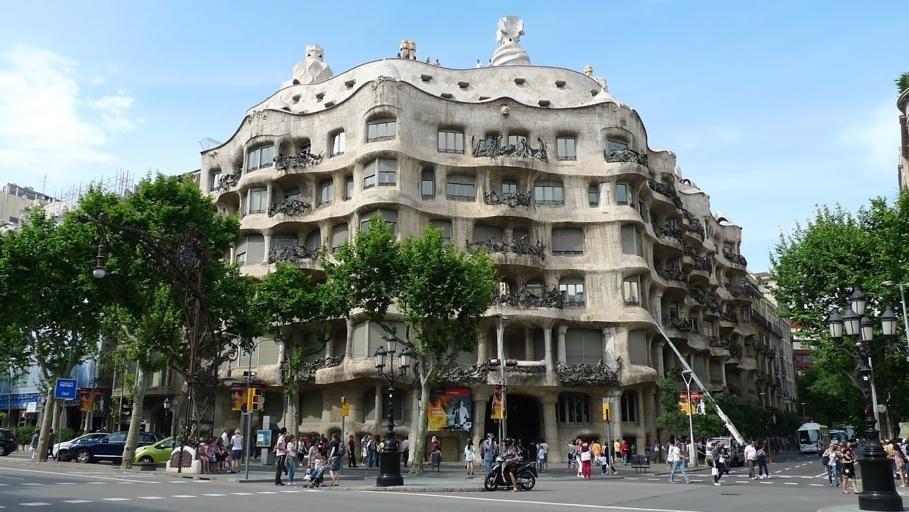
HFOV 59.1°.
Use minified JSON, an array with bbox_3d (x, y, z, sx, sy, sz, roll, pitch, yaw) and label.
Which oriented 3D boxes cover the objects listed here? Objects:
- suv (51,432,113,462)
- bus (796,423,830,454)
[{"bbox_3d":[-31.109,15.792,66.307,4.151,1.847,2.350,4,-14,-6],"label":"suv"},{"bbox_3d":[43.895,22.440,98.694,2.211,2.136,5.904,-7,-26,21],"label":"bus"}]
